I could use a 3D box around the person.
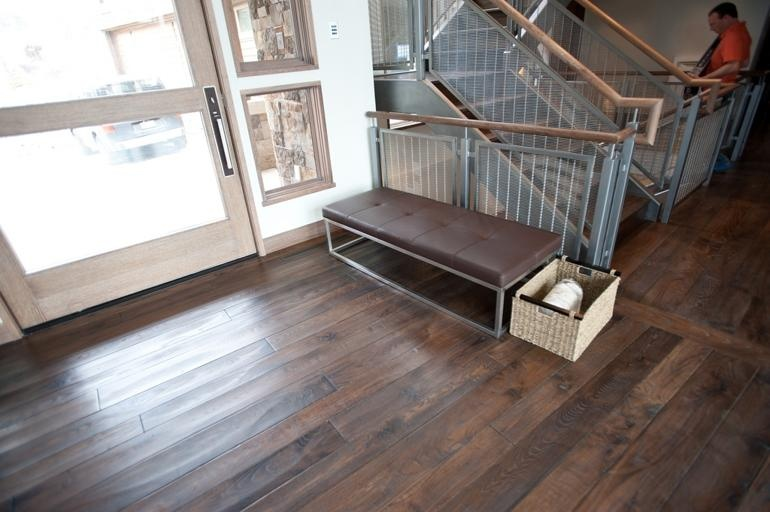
[{"bbox_3d":[3.724,-1.878,5.397,0.604,1.696,1.169,13,34,28],"label":"person"}]

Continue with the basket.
[{"bbox_3d":[1.221,0.324,3.288,0.468,0.456,0.622,22,38,39],"label":"basket"}]
